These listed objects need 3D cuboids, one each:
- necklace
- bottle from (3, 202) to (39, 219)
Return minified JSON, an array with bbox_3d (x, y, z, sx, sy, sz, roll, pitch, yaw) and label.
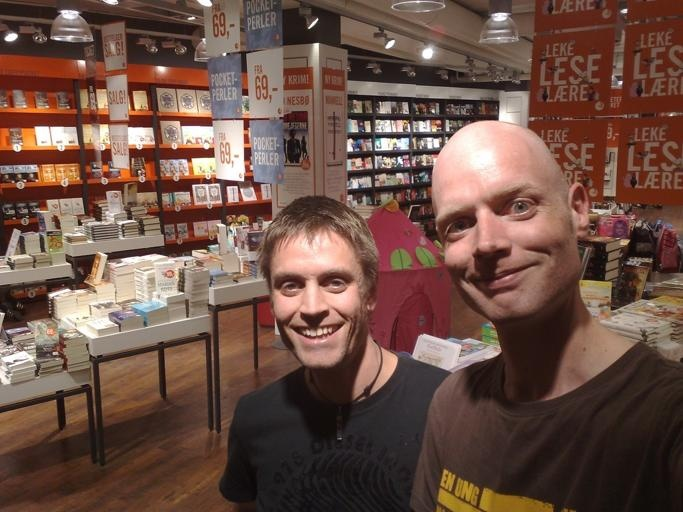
[{"bbox_3d":[0.012,0.461,1.612,0.239,0.306,0.073,-4,-16,19],"label":"necklace"},{"bbox_3d":[-5.263,-0.738,7.927,0.085,0.190,0.381,-5,1,41],"label":"bottle"}]
